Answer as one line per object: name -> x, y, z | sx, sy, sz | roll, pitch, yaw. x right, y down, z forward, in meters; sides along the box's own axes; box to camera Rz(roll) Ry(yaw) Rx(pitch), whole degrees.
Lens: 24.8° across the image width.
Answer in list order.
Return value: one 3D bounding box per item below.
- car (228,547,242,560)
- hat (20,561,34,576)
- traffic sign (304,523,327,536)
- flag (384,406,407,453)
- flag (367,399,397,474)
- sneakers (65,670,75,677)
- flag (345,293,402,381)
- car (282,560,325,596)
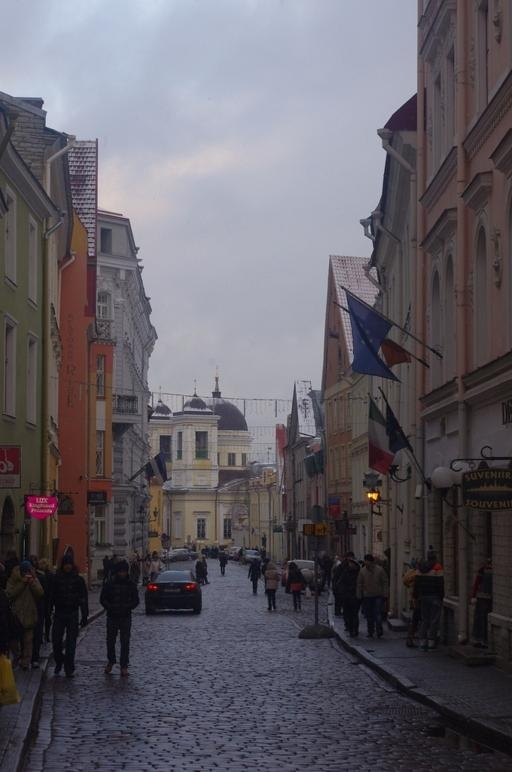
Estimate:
car -> -1.754, 13.929, 97.430 | 0.892, 1.194, 1.830 | 0, 4, 4
hat -> -2.807, 2.243, 14.395 | 0.123, 0.203, 0.162 | 5, -13, -42
traffic sign -> 1.203, 2.924, 23.734 | 0.439, 0.268, 0.931 | -2, -13, 5
flag -> 2.654, 0.782, 22.036 | 0.429, 0.835, 0.818 | -2, -11, 7
flag -> 2.399, 0.923, 22.379 | 0.532, 0.147, 1.988 | 4, -53, 18
sneakers -> -2.301, 3.572, 14.456 | 0.106, 0.141, 0.077 | -1, -1, 1
flag -> 1.894, -0.873, 19.550 | 0.832, 0.075, 1.981 | 2, -48, 13
car -> 1.820, 6.839, 42.534 | 1.378, 1.559, 3.552 | 0, -2, 1
